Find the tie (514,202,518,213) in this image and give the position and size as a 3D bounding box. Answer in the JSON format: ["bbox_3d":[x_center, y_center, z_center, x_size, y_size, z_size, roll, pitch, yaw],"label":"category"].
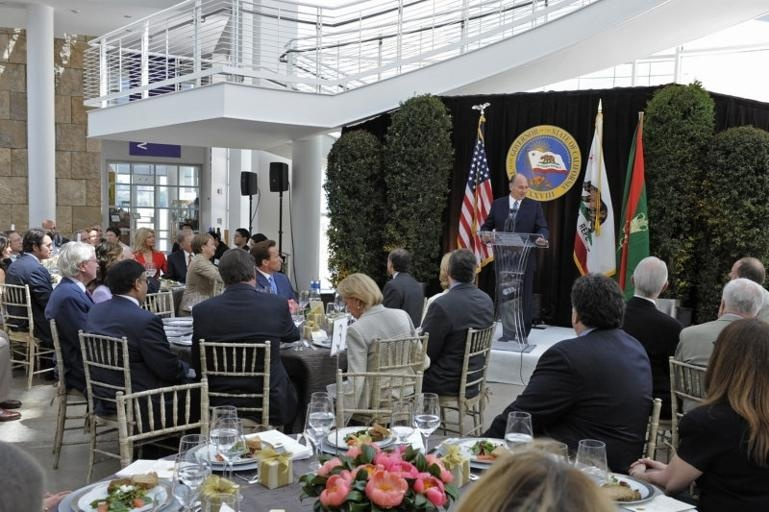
[{"bbox_3d":[1.830,-0.678,10.625,0.033,0.148,0.031,-2,-24,38],"label":"tie"}]

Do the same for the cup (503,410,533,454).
[{"bbox_3d":[0.996,1.294,5.723,0.222,0.292,0.272,2,2,25],"label":"cup"}]

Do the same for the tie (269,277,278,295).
[{"bbox_3d":[-1.321,0.359,9.124,0.035,0.202,0.038,-10,-27,-6],"label":"tie"}]
